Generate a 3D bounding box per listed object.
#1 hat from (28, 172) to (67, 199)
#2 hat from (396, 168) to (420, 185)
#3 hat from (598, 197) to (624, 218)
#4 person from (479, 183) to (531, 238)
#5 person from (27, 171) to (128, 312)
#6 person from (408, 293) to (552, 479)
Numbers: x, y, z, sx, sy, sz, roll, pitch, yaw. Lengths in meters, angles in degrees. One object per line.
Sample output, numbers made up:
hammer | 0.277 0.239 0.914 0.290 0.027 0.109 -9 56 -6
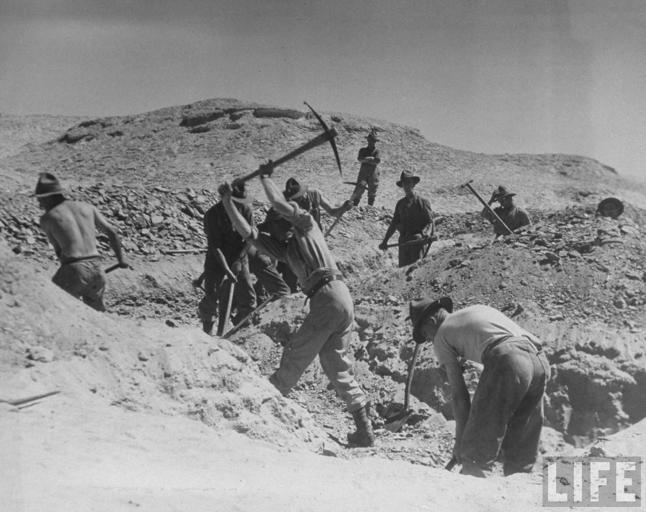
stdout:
hat | -3.144 -0.769 11.885 0.322 0.131 0.282 5 21 17
hat | 1.392 -1.252 17.073 0.315 0.313 0.995 7 13 3
hat | 4.366 -0.726 15.942 0.396 0.278 0.508 10 14 14
person | 3.114 -0.615 17.990 0.883 1.033 0.596 2 -6 12
person | -2.776 -0.105 11.869 0.945 1.481 0.800 3 14 -15
person | 1.535 1.291 9.841 1.069 1.500 0.597 10 14 12
